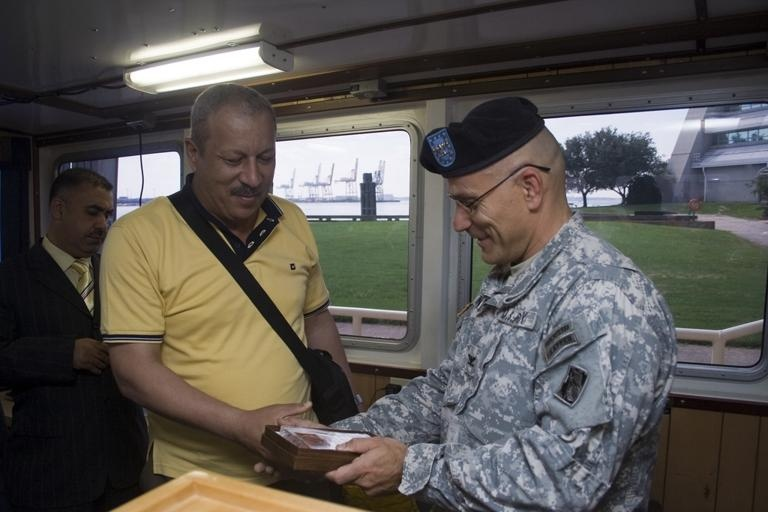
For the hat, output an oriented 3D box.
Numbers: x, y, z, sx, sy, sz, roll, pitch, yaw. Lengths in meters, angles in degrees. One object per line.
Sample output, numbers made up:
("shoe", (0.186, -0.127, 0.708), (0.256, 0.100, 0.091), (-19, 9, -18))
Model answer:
("hat", (0.456, -0.551, 2.632), (0.469, 0.177, 0.375), (-27, 21, -4))
